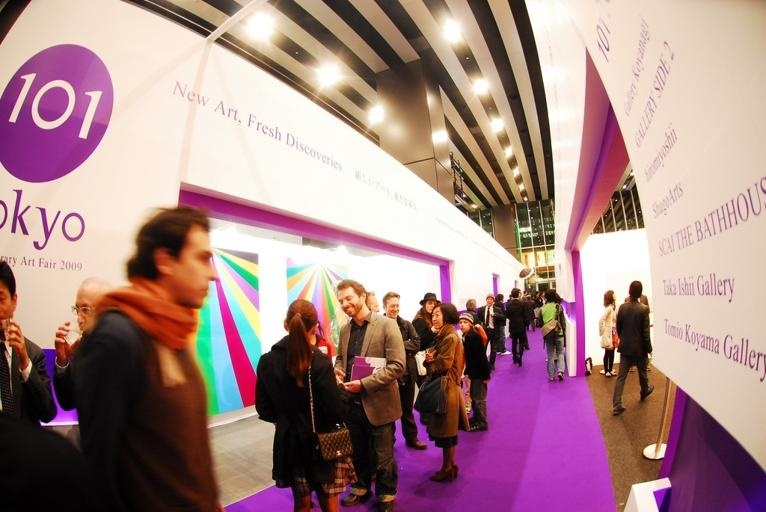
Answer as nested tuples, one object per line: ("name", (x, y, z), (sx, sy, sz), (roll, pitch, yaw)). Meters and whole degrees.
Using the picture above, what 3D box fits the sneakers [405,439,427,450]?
("sneakers", (0.338, 1.917, 4.519), (0.215, 0.096, 0.089), (-13, -12, 40))

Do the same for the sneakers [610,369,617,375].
("sneakers", (3.548, 1.822, 6.823), (0.085, 0.056, 0.157), (2, 6, 18))

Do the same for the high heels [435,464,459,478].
("high heels", (0.544, 1.858, 3.778), (0.183, 0.084, 0.118), (-2, -5, 19))

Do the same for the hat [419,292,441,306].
("hat", (0.565, 0.499, 5.305), (0.201, 0.104, 0.215), (2, -28, -8))

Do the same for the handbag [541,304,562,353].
("handbag", (2.483, 1.092, 6.479), (0.269, 0.844, 0.233), (-8, 8, 14))

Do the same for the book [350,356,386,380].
("book", (-0.116, 0.847, 3.318), (0.176, 0.209, 0.050), (1, 21, 5))

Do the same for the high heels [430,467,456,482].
("high heels", (0.531, 1.875, 3.783), (0.167, 0.082, 0.120), (1, -5, 13))

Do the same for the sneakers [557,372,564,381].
("sneakers", (2.672, 1.829, 6.651), (0.059, 0.085, 0.189), (-9, -39, 24))

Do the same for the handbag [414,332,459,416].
("handbag", (0.458, 1.031, 3.718), (0.413, 0.639, 0.301), (-5, -1, 2))

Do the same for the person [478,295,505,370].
("person", (1.968, 1.439, 8.235), (0.494, 1.370, 0.461), (-3, -6, 39))

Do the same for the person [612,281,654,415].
("person", (2.829, 1.023, 5.072), (0.447, 1.640, 0.684), (-6, -1, 30))

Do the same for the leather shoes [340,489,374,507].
("leather shoes", (-0.210, 1.945, 3.555), (0.241, 0.113, 0.089), (13, -16, -30))

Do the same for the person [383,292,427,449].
("person", (0.309, 1.139, 4.572), (0.339, 1.443, 0.397), (-8, 8, 45))

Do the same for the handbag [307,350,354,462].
("handbag", (-0.343, 1.033, 2.830), (0.243, 0.485, 0.103), (-5, -1, -15))

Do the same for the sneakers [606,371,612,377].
("sneakers", (3.441, 1.816, 6.739), (0.108, 0.042, 0.049), (16, 19, 21))
